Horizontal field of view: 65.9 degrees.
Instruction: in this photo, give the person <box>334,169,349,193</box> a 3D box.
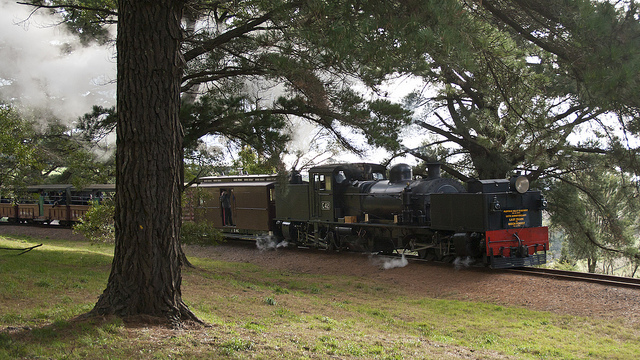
[{"bbox_3d":[1.029,0.024,23.618,0.734,0.990,0.239,-2,-6,-42],"label":"person"}]
